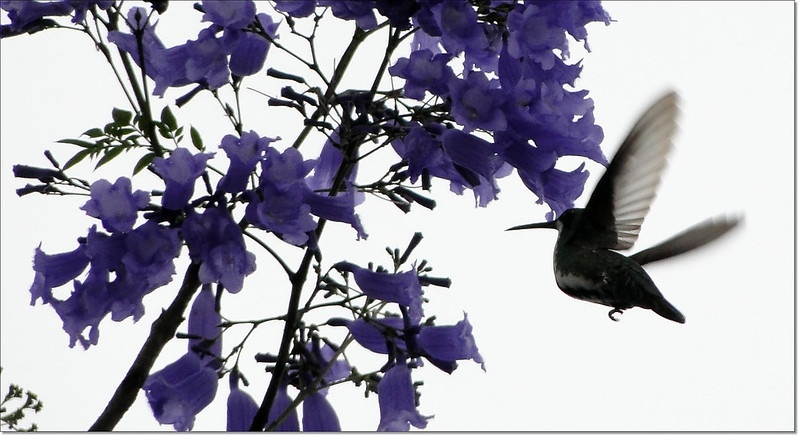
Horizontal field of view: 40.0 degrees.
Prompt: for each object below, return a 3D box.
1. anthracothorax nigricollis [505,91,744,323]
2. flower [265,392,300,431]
[{"bbox_3d":[0.758,0.024,3.778,0.886,0.453,0.858,5,-15,11],"label":"anthracothorax nigricollis"},{"bbox_3d":[-0.379,0.623,3.587,0.103,0.138,0.121,5,-56,1],"label":"flower"}]
